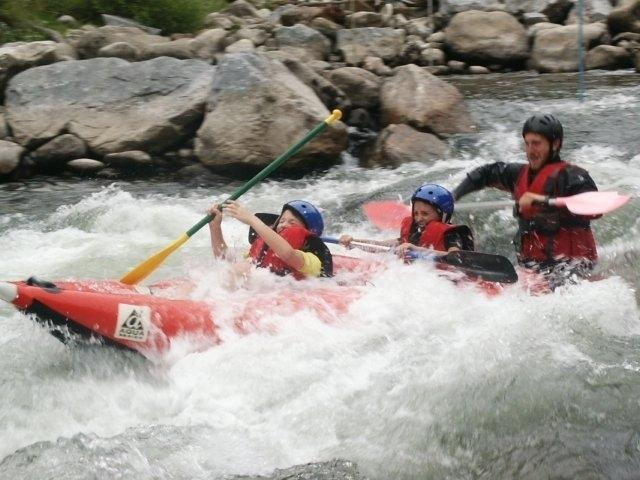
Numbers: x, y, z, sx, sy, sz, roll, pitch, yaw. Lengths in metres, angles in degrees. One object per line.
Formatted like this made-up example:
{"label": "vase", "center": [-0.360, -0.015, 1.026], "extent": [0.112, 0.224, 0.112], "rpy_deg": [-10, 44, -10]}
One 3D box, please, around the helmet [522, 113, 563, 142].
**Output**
{"label": "helmet", "center": [1.938, -0.962, 5.908], "extent": [0.264, 0.253, 0.275], "rpy_deg": [9, 6, 42]}

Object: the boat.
{"label": "boat", "center": [0.035, 0.455, 5.063], "extent": [4.372, 0.392, 1.072], "rpy_deg": [0, 3, -12]}

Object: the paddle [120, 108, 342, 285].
{"label": "paddle", "center": [-0.984, -0.491, 7.397], "extent": [4.337, 0.166, 0.330], "rpy_deg": [-28, 16, -6]}
